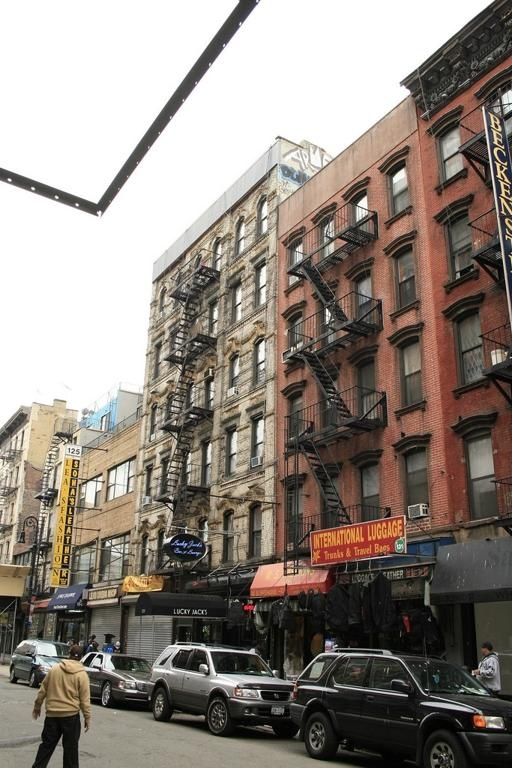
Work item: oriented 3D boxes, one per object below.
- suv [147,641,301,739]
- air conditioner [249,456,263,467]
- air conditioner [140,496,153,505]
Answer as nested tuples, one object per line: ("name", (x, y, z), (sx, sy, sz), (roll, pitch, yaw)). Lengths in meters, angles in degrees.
("suv", (-0.888, 7.223, 15.229), (2.268, 1.892, 4.918), (15, -27, -32))
("air conditioner", (0.005, 3.149, 25.568), (0.386, 0.507, 0.699), (10, -19, -25))
("air conditioner", (-5.809, 6.263, 34.257), (0.265, 0.474, 0.489), (18, -23, -38))
